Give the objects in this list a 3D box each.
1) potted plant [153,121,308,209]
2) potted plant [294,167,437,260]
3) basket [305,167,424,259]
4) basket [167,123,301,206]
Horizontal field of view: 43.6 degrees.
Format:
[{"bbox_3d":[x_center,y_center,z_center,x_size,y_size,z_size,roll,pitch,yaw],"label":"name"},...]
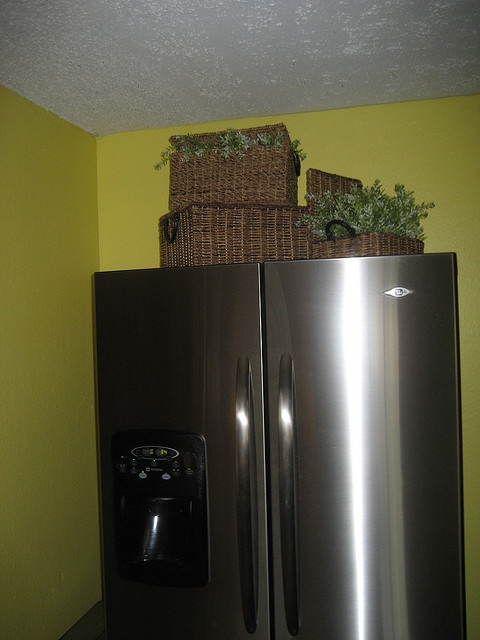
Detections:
[{"bbox_3d":[-0.032,-0.489,1.943,0.382,0.215,0.259,0,1,17],"label":"potted plant"},{"bbox_3d":[0.343,-0.310,1.836,0.421,0.293,0.313,1,3,43],"label":"potted plant"},{"bbox_3d":[0.384,-0.320,1.849,0.238,0.240,0.318,-1,12,-25],"label":"basket"},{"bbox_3d":[-0.018,-0.466,1.941,0.311,0.214,0.323,-1,2,17],"label":"basket"}]
